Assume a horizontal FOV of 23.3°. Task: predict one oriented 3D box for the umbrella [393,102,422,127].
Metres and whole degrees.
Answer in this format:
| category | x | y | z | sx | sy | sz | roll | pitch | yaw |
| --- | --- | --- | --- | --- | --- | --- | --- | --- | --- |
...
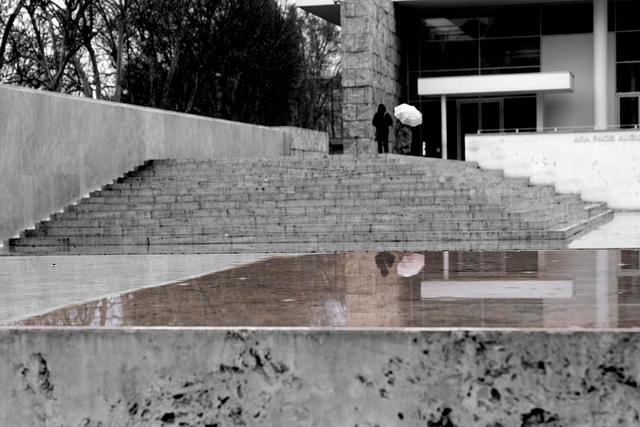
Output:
| category | x | y | z | sx | sy | sz | roll | pitch | yaw |
| --- | --- | --- | --- | --- | --- | --- | --- | --- | --- |
| umbrella | 3.266 | -3.590 | 57.990 | 1.067 | 0.702 | 0.611 | 17 | 16 | 39 |
